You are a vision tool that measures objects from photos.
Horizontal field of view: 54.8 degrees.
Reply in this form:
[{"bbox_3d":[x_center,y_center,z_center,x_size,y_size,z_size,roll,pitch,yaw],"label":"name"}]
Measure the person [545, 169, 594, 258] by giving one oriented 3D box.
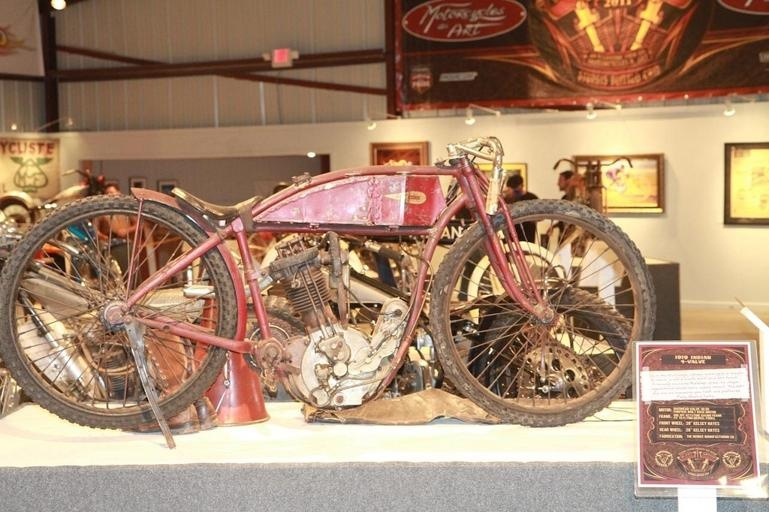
[{"bbox_3d":[2.089,-0.421,8.017,0.617,0.799,0.166,6,39,25],"label":"person"}]
